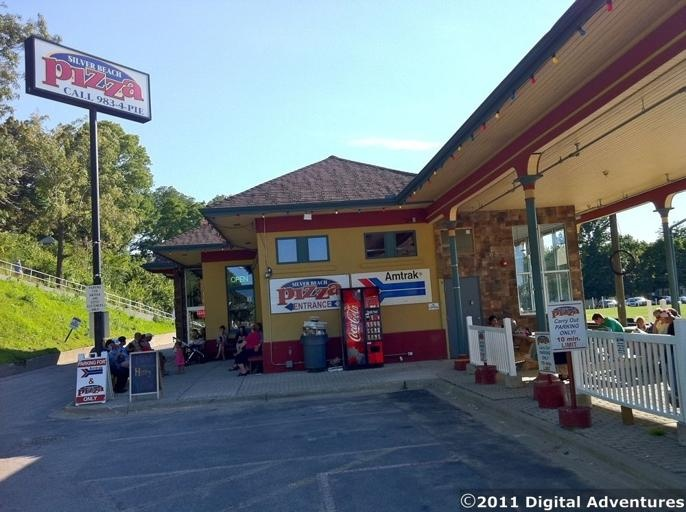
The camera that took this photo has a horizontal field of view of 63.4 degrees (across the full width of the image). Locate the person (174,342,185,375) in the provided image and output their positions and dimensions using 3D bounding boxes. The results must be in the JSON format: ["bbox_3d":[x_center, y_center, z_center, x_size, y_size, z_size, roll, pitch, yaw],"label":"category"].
[{"bbox_3d":[-5.814,3.617,19.771,0.267,0.967,1.448,-5,-1,-19],"label":"person"}]

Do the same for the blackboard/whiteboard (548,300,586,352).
[{"bbox_3d":[3.877,1.214,9.537,0.586,0.897,0.322,-5,-1,18],"label":"blackboard/whiteboard"}]

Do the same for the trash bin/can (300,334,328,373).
[{"bbox_3d":[-0.892,3.076,17.442,1.065,1.234,1.040,0,-11,-6],"label":"trash bin/can"}]
